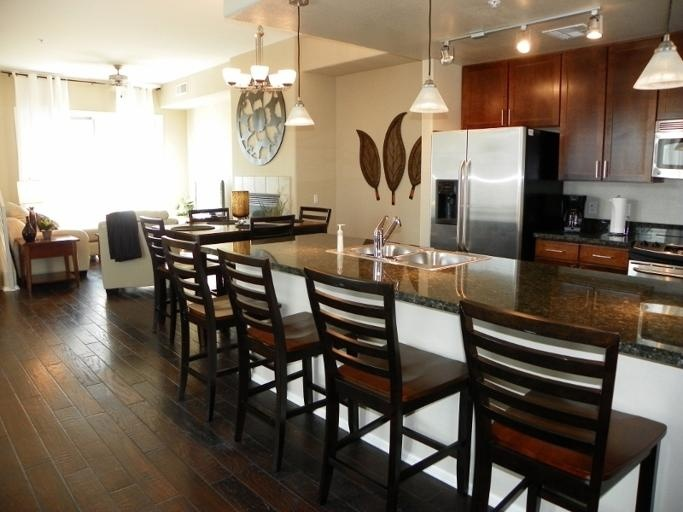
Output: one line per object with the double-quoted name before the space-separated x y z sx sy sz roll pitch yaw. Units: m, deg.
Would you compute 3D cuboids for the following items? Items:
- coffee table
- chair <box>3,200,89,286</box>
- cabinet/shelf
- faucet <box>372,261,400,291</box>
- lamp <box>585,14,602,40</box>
"coffee table" -3.913 0.027 6.729 0.746 0.744 0.719 -7 11 -37
"chair" -4.100 -0.125 7.051 1.231 1.355 1.067 -6 14 -35
"cabinet/shelf" 2.135 -1.358 4.759 0.376 0.834 1.244 -4 8 -35
"faucet" 0.246 0.112 2.771 0.075 0.095 0.394 4 -14 11
"lamp" 1.900 -1.726 3.782 0.090 0.196 0.301 5 14 23
